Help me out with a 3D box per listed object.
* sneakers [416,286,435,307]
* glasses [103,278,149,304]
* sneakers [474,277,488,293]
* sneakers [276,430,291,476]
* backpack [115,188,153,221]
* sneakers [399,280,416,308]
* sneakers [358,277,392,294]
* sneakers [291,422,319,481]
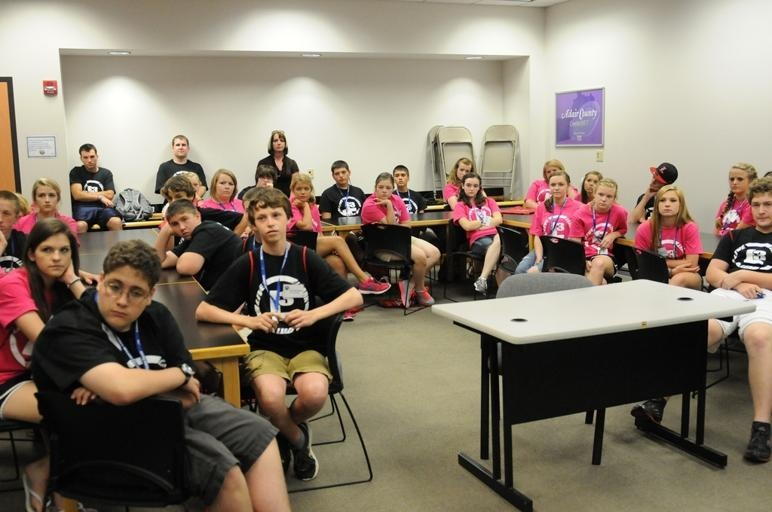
[{"bbox_3d":[0.436,0.456,6.508,0.138,0.123,0.267,-11,17,-41],"label":"sneakers"},{"bbox_3d":[-1.144,0.149,2.478,0.120,0.096,0.156,2,-9,-14],"label":"glasses"},{"bbox_3d":[1.061,0.320,6.248,0.089,0.100,0.231,26,-1,-1],"label":"sneakers"},{"bbox_3d":[-0.585,1.127,3.317,0.117,0.303,0.099,1,3,-1],"label":"sneakers"},{"bbox_3d":[-3.543,-0.737,7.977,0.310,0.436,0.448,-5,34,-6],"label":"backpack"},{"bbox_3d":[0.234,0.405,6.383,0.148,0.373,0.123,-4,-1,9],"label":"sneakers"},{"bbox_3d":[-0.142,0.348,6.698,0.353,0.164,0.178,-1,7,-2],"label":"sneakers"},{"bbox_3d":[-0.479,1.191,3.374,0.126,0.374,0.142,-8,7,29],"label":"sneakers"}]
